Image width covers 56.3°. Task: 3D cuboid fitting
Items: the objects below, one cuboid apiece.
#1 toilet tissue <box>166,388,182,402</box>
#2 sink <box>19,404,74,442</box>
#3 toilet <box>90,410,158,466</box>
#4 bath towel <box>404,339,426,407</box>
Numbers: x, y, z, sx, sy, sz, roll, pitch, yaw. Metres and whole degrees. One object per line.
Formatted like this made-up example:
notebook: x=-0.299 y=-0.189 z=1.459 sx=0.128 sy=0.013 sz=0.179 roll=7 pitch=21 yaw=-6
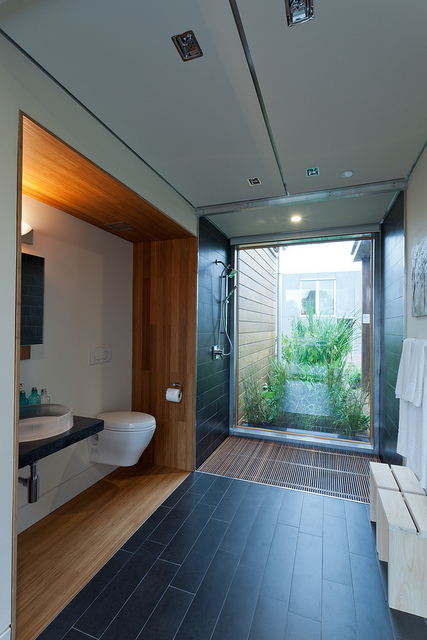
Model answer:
toilet tissue: x=-0.309 y=0.584 z=3.102 sx=0.120 sy=0.102 sz=0.112 roll=1 pitch=3 yaw=12
sink: x=-0.844 y=0.515 z=2.047 sx=0.252 sy=0.119 sz=0.392 roll=-1 pitch=3 yaw=-27
toilet: x=-0.648 y=0.848 z=2.876 sx=0.434 sy=0.368 sz=0.414 roll=3 pitch=2 yaw=9
bath towel: x=1.008 y=0.273 z=2.012 sx=0.052 sy=0.357 sz=0.250 roll=10 pitch=-12 yaw=10
